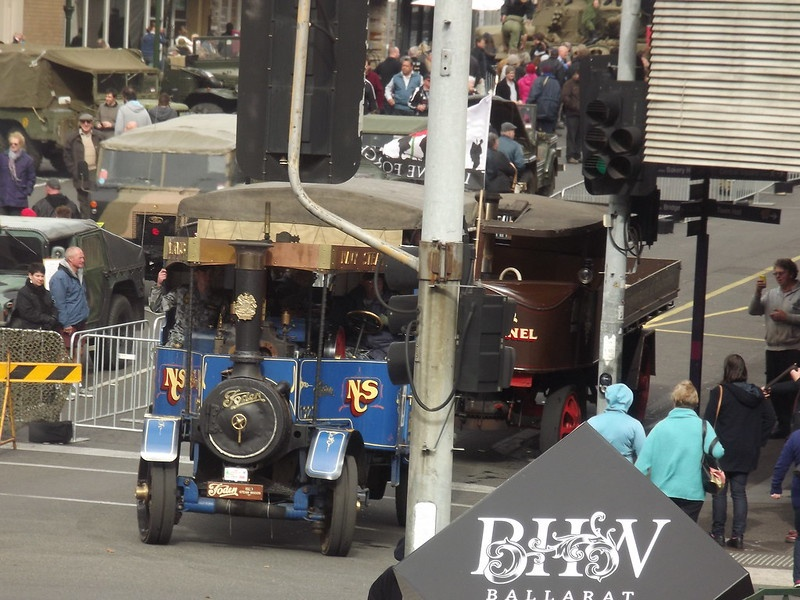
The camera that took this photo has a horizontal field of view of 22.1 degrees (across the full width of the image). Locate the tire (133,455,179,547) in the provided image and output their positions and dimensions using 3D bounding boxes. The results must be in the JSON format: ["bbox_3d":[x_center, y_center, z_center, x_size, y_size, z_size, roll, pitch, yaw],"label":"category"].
[{"bbox_3d":[-3.092,2.545,26.232,0.543,1.116,0.961,2,12,-6],"label":"tire"}]

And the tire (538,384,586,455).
[{"bbox_3d":[2.313,1.687,29.784,0.469,0.925,1.493,5,6,18],"label":"tire"}]

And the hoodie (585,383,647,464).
[{"bbox_3d":[2.835,1.679,26.487,0.844,1.264,0.688,5,12,34],"label":"hoodie"}]

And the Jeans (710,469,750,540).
[{"bbox_3d":[4.335,2.520,27.029,0.439,1.520,0.361,-2,40,8],"label":"Jeans"}]

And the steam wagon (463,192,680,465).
[{"bbox_3d":[2.249,0.206,31.892,2.903,3.353,5.466,6,9,23],"label":"steam wagon"}]

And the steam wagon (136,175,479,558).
[{"bbox_3d":[-1.544,0.783,27.425,3.449,4.638,3.603,3,6,0],"label":"steam wagon"}]

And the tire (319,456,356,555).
[{"bbox_3d":[-0.752,2.627,26.245,0.439,1.316,0.502,3,6,-2],"label":"tire"}]

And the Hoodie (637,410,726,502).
[{"bbox_3d":[3.530,1.959,25.671,1.119,1.136,0.653,2,8,12],"label":"Hoodie"}]

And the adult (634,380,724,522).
[{"bbox_3d":[3.578,2.166,26.330,1.121,2.423,0.736,2,20,12],"label":"adult"}]
